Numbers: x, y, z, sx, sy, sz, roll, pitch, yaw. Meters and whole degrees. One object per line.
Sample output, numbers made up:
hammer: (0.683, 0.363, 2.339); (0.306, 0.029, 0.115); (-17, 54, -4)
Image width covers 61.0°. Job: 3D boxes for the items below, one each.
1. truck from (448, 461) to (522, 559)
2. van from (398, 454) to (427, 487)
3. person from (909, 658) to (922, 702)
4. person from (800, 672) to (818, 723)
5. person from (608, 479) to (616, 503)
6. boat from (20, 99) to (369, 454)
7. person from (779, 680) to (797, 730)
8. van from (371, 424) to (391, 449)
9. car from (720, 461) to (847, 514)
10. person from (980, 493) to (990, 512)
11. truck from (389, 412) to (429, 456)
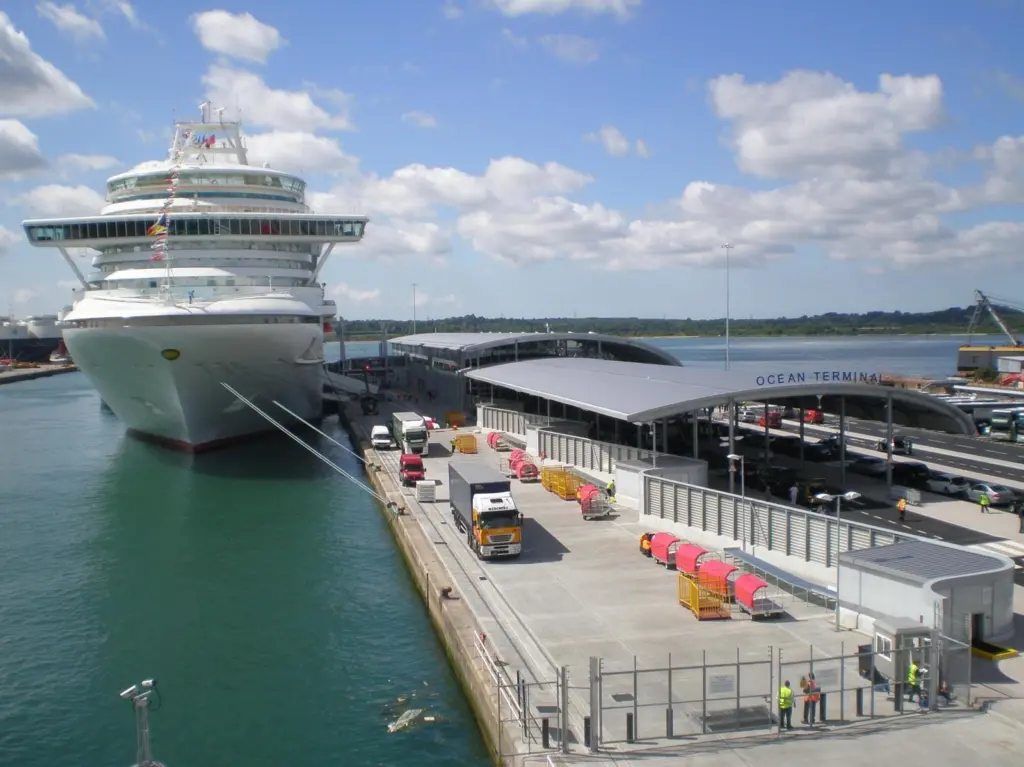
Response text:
truck: (-1.079, 5.003, 36.351); (1.896, 1.707, 4.945); (-5, 8, -14)
van: (-5.325, 4.691, 47.024); (1.292, 0.907, 1.984); (-2, -1, -14)
person: (11.256, 8.337, 24.247); (0.317, 1.182, 0.130); (0, 7, 16)
person: (8.129, 8.576, 23.612); (0.496, 1.317, 0.719); (1, 7, 18)
person: (4.877, 5.323, 42.290); (0.397, 1.011, 0.806); (-1, 6, 6)
boat: (-19.170, -5.610, 54.364); (15.054, 19.535, 18.198); (-3, 6, -10)
person: (7.381, 8.642, 23.334); (0.368, 1.221, 0.694); (0, 7, 16)
van: (-8.669, 3.595, 57.174); (1.142, 0.722, 1.928); (-2, 3, -11)
car: (13.707, 5.802, 43.595); (2.873, 1.521, 7.710); (-2, 7, -22)
person: (21.779, 5.527, 39.888); (0.322, 0.749, 0.992); (2, 7, 30)
truck: (-6.372, 3.054, 55.546); (1.489, 1.536, 3.943); (-3, 5, -15)
